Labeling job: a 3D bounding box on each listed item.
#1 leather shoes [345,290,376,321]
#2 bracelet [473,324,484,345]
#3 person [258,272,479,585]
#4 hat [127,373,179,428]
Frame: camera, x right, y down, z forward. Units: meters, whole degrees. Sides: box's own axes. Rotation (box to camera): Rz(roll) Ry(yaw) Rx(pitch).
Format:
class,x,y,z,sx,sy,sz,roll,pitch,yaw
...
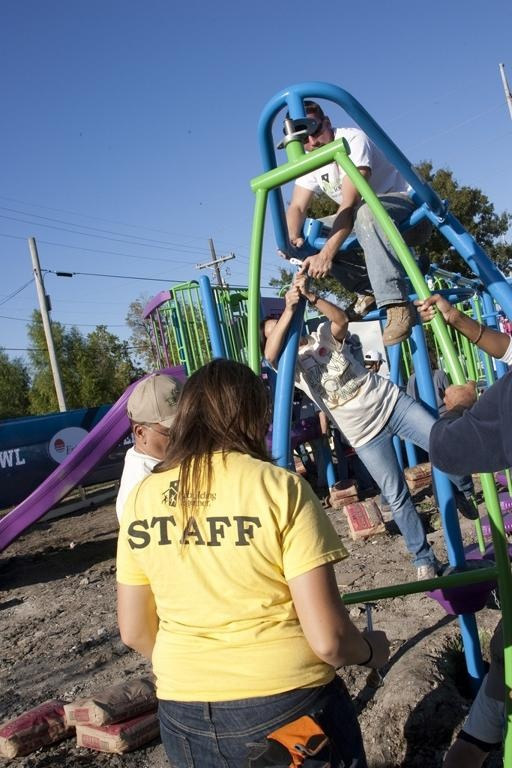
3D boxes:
class,x,y,z,sx,sy,sz,roll,pitch,yaw
leather shoes,0.634,-0.489,3.152,0.109,0.102,0.252,12,-36,-28
bracelet,0.683,-0.151,1.564,0.012,0.045,0.047,7,-12,1
person,0.714,0.252,3.064,0.650,1.986,0.645,-35,-3,33
hat,-0.374,0.052,1.820,0.224,0.138,0.155,22,23,34
